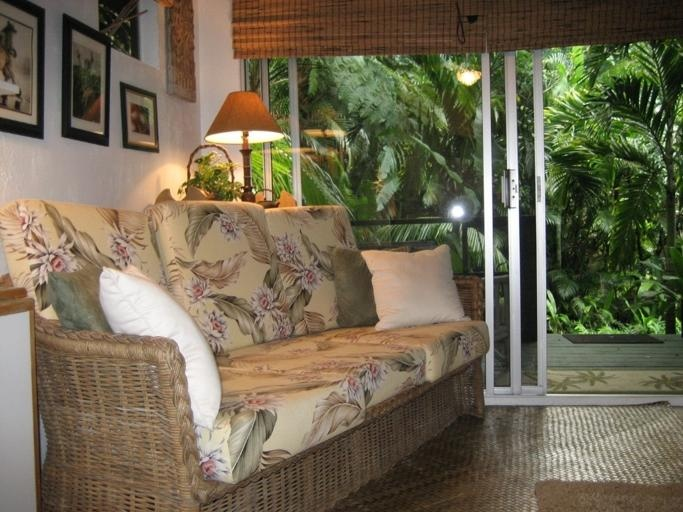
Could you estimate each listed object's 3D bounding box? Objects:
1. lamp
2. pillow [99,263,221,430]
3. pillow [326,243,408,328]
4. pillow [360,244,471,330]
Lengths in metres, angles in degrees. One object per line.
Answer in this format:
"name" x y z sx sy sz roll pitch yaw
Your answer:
"lamp" -0.577 -0.619 3.256 0.388 0.609 0.453 -4 7 -34
"pillow" -0.562 0.278 1.805 0.376 0.489 0.155 2 6 19
"pillow" 0.099 0.155 2.977 0.123 0.365 0.341 -17 -12 40
"pillow" 0.390 0.171 3.073 0.547 0.482 0.261 0 -7 -21
